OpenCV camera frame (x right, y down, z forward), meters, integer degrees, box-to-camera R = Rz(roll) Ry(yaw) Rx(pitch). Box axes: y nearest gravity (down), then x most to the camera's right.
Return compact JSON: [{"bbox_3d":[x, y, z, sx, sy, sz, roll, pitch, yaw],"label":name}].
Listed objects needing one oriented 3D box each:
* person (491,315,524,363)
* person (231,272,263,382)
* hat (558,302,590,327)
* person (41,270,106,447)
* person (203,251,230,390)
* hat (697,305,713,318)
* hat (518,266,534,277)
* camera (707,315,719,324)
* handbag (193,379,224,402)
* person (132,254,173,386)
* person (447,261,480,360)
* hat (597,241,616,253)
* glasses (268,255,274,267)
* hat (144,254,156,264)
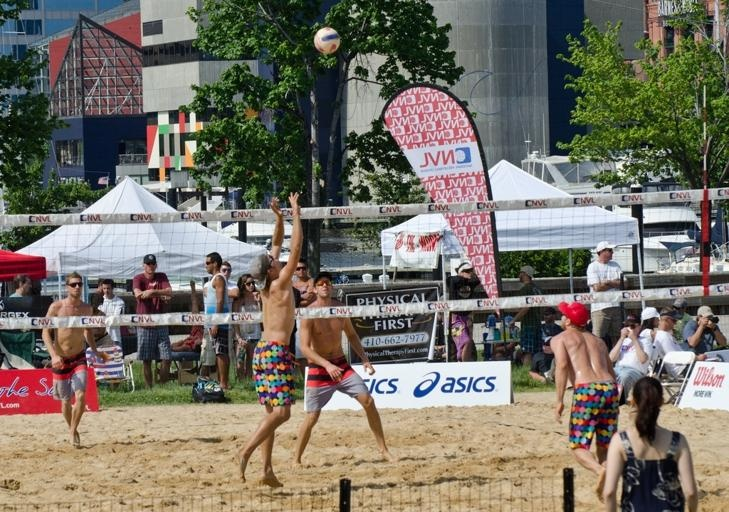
[{"bbox_3d":[3.850,2.326,45.724,0.877,1.515,1.423,-1,1,8],"label":"person"},{"bbox_3d":[-2.952,2.001,44.323,1.005,3.088,1.099,-7,27,-11],"label":"person"},{"bbox_3d":[4.836,1.373,39.448,0.432,0.695,0.378,-15,-32,-31],"label":"hat"},{"bbox_3d":[-7.164,2.574,41.429,1.167,4.240,1.014,-3,2,-1],"label":"person"},{"bbox_3d":[-3.802,1.750,43.939,0.624,3.586,0.692,-3,2,-4],"label":"person"},{"bbox_3d":[8.759,1.484,44.040,0.265,0.233,0.375,-1,-5,-29],"label":"hat"},{"bbox_3d":[4.388,0.449,45.741,0.323,0.299,0.284,-1,-1,10],"label":"hat"},{"bbox_3d":[9.115,1.694,44.259,0.192,0.073,0.282,26,-3,-9],"label":"camera"},{"bbox_3d":[-4.075,3.530,43.626,0.517,0.302,0.680,4,4,-39],"label":"handbag"},{"bbox_3d":[-5.491,1.749,44.045,0.947,3.455,0.861,-3,2,-9],"label":"person"},{"bbox_3d":[2.590,1.481,44.430,0.742,2.582,1.347,-2,2,10],"label":"person"},{"bbox_3d":[6.333,-0.226,44.467,0.402,0.243,0.284,-7,5,-3],"label":"hat"},{"bbox_3d":[-2.181,0.133,39.428,0.144,0.190,0.181,-1,7,0],"label":"glasses"},{"bbox_3d":[-5.650,0.105,44.226,0.316,0.271,0.554,7,-5,-11],"label":"hat"}]
